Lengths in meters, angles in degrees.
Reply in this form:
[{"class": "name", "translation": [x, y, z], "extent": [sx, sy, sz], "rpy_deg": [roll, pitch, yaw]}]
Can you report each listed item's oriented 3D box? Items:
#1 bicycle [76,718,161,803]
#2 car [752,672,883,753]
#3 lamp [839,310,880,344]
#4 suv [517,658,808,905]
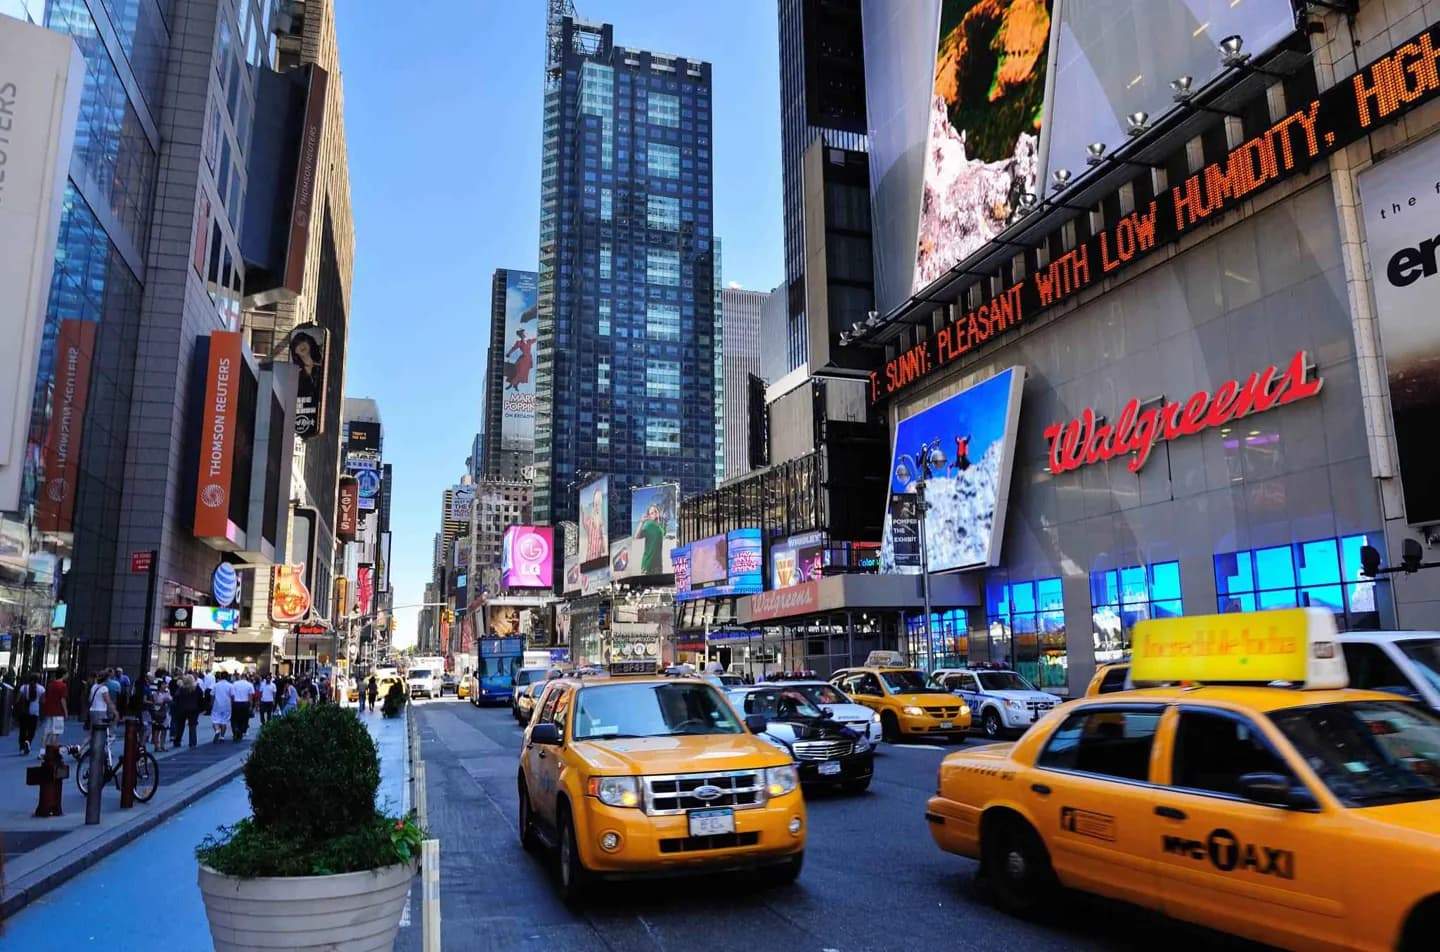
[{"class": "bicycle", "translation": [-12.805, 6.062, 22.304], "extent": [1.862, 1.228, 0.890], "rpy_deg": [-6, -16, 14]}, {"class": "car", "translation": [2.621, 5.184, 23.764], "extent": [1.457, 1.155, 3.279], "rpy_deg": [3, -18, -7]}, {"class": "lamp", "translation": [6.979, -7.545, 52.961], "extent": [0.928, 1.164, 3.046], "rpy_deg": [-9, -6, -28]}, {"class": "suv", "translation": [-1.292, 4.344, 15.270], "extent": [2.259, 1.893, 4.022], "rpy_deg": [4, -19, -20]}]
